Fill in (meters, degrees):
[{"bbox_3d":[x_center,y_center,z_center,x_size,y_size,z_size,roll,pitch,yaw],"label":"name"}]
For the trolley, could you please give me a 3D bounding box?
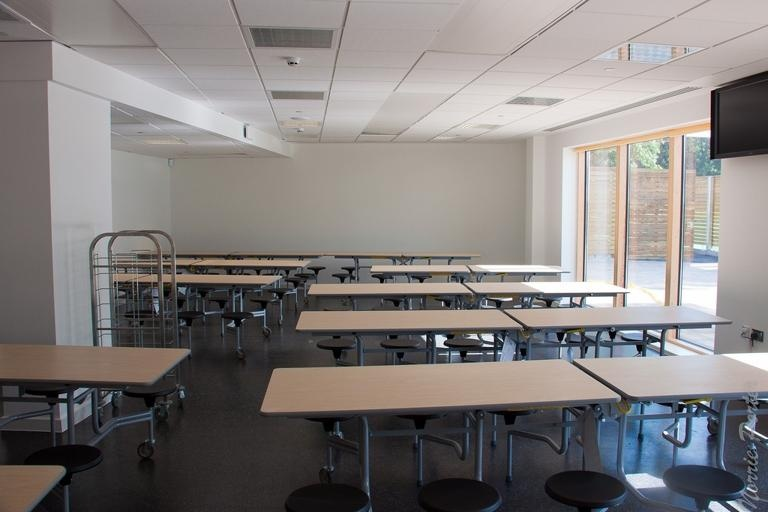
[{"bbox_3d":[-2.877,0.722,6.881,1.244,1.943,0.739,-2,2,1],"label":"trolley"}]
